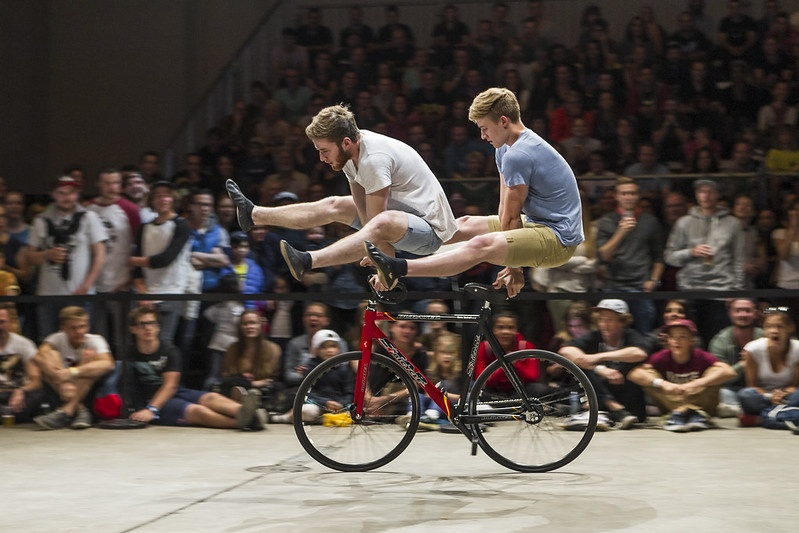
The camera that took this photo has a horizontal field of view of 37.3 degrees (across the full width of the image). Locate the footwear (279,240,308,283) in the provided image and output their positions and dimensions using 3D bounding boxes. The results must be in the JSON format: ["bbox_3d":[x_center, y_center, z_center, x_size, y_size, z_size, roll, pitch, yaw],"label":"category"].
[{"bbox_3d":[-0.807,-0.042,9.121,0.223,0.286,0.362,0,1,-4],"label":"footwear"}]

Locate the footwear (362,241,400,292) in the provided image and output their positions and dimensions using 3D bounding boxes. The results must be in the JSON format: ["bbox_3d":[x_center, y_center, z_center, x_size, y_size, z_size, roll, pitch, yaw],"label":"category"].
[{"bbox_3d":[-0.132,-0.004,8.974,0.306,0.378,0.311,0,1,-2],"label":"footwear"}]

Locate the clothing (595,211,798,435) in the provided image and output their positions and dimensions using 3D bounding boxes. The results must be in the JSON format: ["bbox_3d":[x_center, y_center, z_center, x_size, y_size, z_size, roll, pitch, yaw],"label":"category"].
[{"bbox_3d":[2.687,0.387,10.567,1.685,1.969,0.524,1,2,5],"label":"clothing"}]
